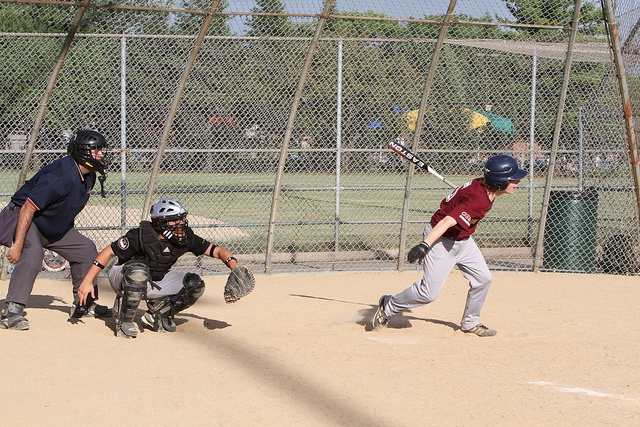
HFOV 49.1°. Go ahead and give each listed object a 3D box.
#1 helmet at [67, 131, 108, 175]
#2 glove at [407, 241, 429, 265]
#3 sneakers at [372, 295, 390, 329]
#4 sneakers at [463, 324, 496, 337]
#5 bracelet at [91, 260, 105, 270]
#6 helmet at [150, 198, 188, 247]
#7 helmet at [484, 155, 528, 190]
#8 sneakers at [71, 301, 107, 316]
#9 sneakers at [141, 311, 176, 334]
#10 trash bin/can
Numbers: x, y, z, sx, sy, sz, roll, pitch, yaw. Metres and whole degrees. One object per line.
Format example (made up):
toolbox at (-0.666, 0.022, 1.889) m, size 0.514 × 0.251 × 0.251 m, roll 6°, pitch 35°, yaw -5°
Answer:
helmet at (-2.772, -0.750, 8.244) m, size 0.577 × 0.473 × 0.405 m, roll 2°, pitch 13°, yaw -17°
glove at (1.103, 0.445, 7.889) m, size 0.169 × 0.281 × 0.090 m, roll 48°, pitch -8°, yaw 3°
sneakers at (0.728, 1.229, 8.656) m, size 0.189 × 0.435 × 0.184 m, roll 1°, pitch 17°, yaw -23°
sneakers at (1.983, 1.434, 8.625) m, size 0.434 × 0.154 × 0.143 m, roll -1°, pitch 5°, yaw 9°
bracelet at (-2.560, 0.606, 8.087) m, size 0.121 × 0.031 × 0.117 m, roll 28°, pitch -9°, yaw 35°
helmet at (-1.722, 0.096, 8.009) m, size 0.570 × 0.495 × 0.425 m, roll 7°, pitch 13°, yaw 26°
helmet at (2.096, -0.476, 8.171) m, size 0.534 × 0.332 × 0.345 m, roll 4°, pitch 11°, yaw -2°
sneakers at (-2.856, 1.209, 8.722) m, size 0.500 × 0.187 × 0.169 m, roll -1°, pitch 11°, yaw -18°
sneakers at (-1.951, 1.309, 8.451) m, size 0.456 × 0.176 × 0.185 m, roll 8°, pitch 8°, yaw 9°
trash bin/can at (4.073, 0.264, 11.285) m, size 0.812 × 1.387 × 0.329 m, roll 6°, pitch 1°, yaw 18°
